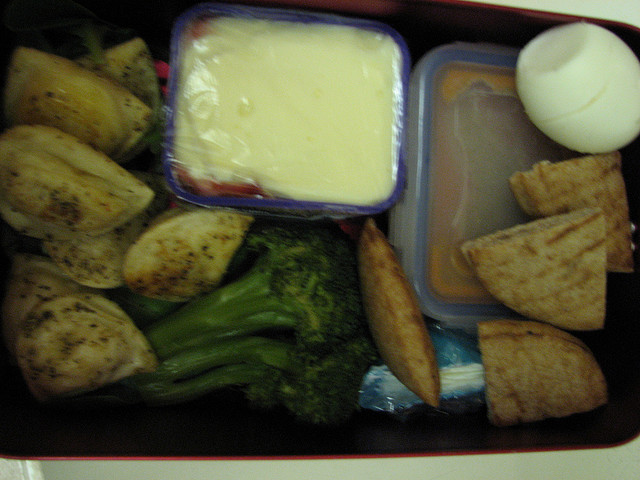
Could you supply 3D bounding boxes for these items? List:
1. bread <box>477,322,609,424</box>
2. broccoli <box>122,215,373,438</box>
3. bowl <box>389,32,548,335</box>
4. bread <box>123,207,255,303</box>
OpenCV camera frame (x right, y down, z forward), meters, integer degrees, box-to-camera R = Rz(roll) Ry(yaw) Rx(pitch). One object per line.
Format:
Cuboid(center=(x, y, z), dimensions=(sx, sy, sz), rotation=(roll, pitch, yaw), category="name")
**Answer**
Cuboid(center=(0.481, 0.285, 1.469), dimensions=(0.412, 0.093, 0.239), rotation=(5, 70, -27), category="bread")
Cuboid(center=(-0.195, 0.184, 1.606), dimensions=(0.225, 0.881, 0.503), rotation=(38, 51, -38), category="broccoli")
Cuboid(center=(0.288, -0.132, 1.559), dimensions=(0.574, 0.202, 0.562), rotation=(0, 90, -9), category="bowl")
Cuboid(center=(-0.275, 0.026, 1.383), dimensions=(0.178, 0.098, 0.223), rotation=(24, 85, 4), category="bread")
